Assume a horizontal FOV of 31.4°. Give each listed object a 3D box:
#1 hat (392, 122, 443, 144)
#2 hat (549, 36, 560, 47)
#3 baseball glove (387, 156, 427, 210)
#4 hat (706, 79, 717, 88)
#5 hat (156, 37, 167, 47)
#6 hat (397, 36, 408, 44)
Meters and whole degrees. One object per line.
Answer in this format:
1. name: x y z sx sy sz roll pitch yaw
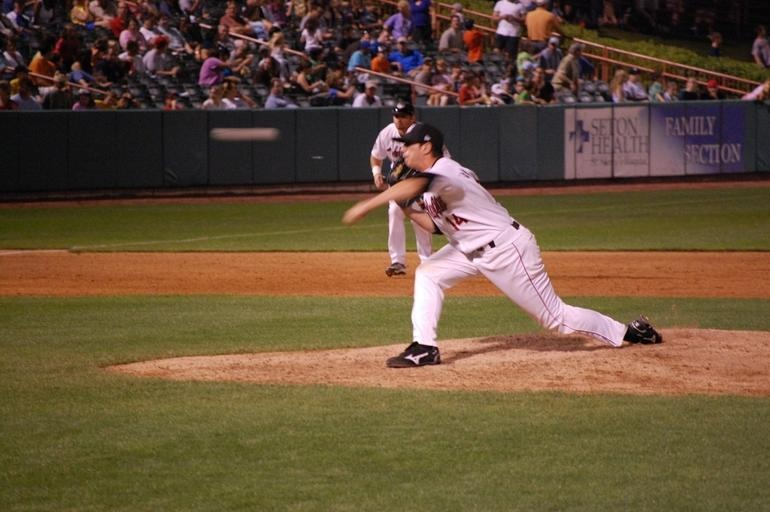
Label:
1. hat: 0.499 -1.770 19.405 0.551 0.285 0.322 0 6 -1
2. hat: 3.795 -4.877 30.822 0.207 0.249 0.257 6 -37 14
3. baseball glove: 0.236 -1.128 20.205 0.571 0.734 0.316 31 3 16
4. hat: 7.683 -4.091 32.373 0.376 0.229 0.494 2 9 13
5. hat: -4.658 -4.522 28.649 0.177 0.211 0.320 1 4 31
6. hat: 0.382 -5.001 31.464 0.307 0.078 0.323 0 3 0
